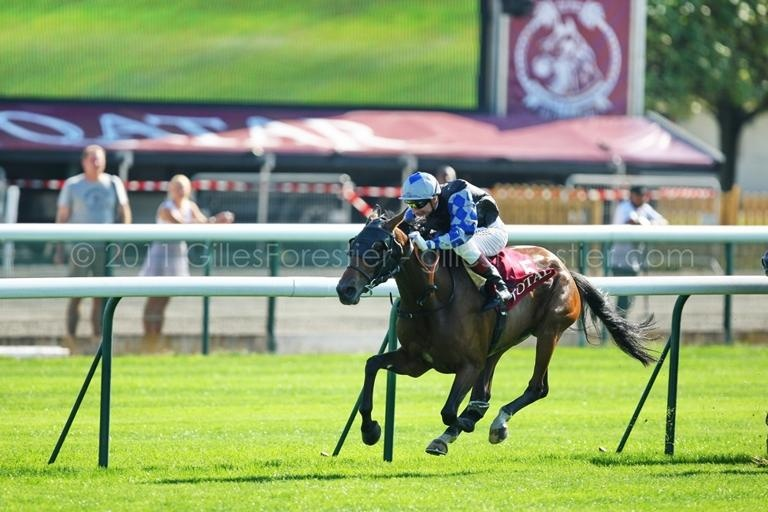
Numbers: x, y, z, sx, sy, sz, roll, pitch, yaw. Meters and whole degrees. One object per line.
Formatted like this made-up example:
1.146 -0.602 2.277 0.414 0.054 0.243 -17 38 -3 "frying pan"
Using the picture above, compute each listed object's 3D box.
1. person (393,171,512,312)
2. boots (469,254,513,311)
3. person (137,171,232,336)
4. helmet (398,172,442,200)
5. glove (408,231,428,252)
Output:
0.719 -0.165 19.749 1.270 1.252 0.912 -5 1 -40 "person"
1.095 0.290 19.537 0.394 0.525 0.224 -26 12 49 "boots"
-2.186 0.058 21.516 0.921 1.876 1.397 -1 2 -9 "person"
0.375 -0.680 19.439 0.398 0.268 0.222 -1 2 0 "helmet"
0.355 -0.133 19.276 0.150 0.191 0.058 6 -46 -50 "glove"
